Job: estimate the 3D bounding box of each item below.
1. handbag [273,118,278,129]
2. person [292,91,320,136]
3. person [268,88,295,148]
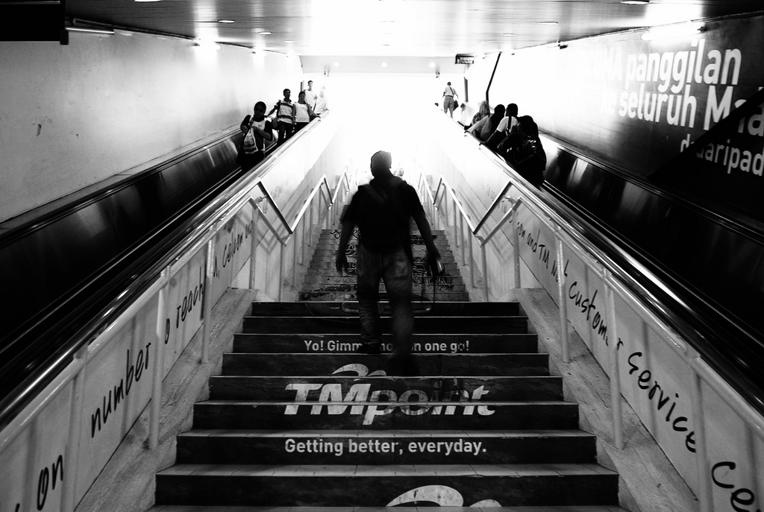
[{"bbox_3d":[-2.666,-3.270,12.199,0.130,0.153,0.242,-2,-86,-6],"label":"handbag"},{"bbox_3d":[-2.340,-4.037,14.399,0.680,0.344,1.621,-5,-40,-16],"label":"person"},{"bbox_3d":[-2.597,-3.623,12.846,0.844,0.412,1.499,-8,-46,-24],"label":"person"}]
